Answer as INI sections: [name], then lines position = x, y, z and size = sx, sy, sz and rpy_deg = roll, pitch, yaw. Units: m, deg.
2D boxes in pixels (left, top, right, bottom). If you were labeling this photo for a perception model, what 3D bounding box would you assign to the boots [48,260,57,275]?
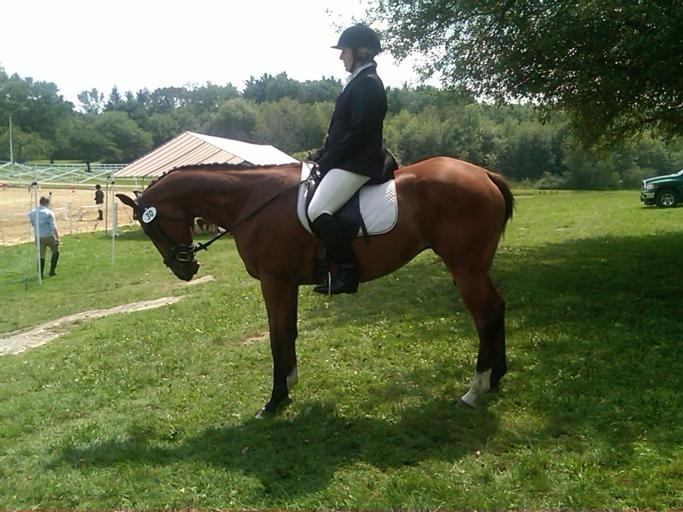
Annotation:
[boots]
position = -7.726, 0.290, 15.443
size = 0.192, 0.419, 0.411
rpy_deg = -9, 11, -24
